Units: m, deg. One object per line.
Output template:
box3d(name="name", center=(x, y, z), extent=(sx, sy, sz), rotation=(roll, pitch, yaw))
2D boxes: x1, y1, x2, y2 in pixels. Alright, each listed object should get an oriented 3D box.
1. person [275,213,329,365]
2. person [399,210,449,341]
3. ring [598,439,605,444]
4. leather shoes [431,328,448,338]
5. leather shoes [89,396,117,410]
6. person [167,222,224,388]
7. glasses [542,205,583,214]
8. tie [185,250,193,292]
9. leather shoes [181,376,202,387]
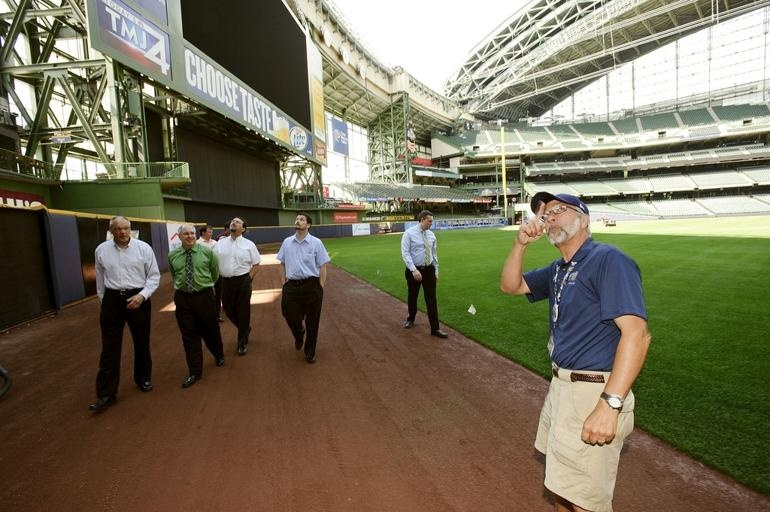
box3d(name="person", center=(-1.571, 0.592, 8.286), extent=(0.920, 2.829, 0.746), rotation=(-4, 6, -14))
box3d(name="person", center=(0.851, 0.326, 9.517), extent=(0.893, 2.708, 1.419), rotation=(-2, 6, 3))
box3d(name="ring", center=(2.394, 2.045, 4.695), extent=(0.038, 0.020, 0.053), rotation=(3, 1, 3))
box3d(name="leather shoes", center=(1.172, 1.645, 9.106), extent=(0.371, 0.165, 0.142), rotation=(1, 3, 18))
box3d(name="leather shoes", center=(-4.678, 2.454, 7.082), extent=(0.176, 0.177, 0.402), rotation=(-1, -11, 19))
box3d(name="person", center=(-3.444, 0.833, 7.748), extent=(0.815, 2.860, 0.587), rotation=(-7, 8, -39))
box3d(name="glasses", center=(2.125, -0.554, 5.095), extent=(0.289, 0.083, 0.174), rotation=(9, 0, 8))
box3d(name="tie", center=(-3.483, 0.253, 7.538), extent=(0.123, 0.720, 0.212), rotation=(-4, 6, -17))
box3d(name="leather shoes", center=(-3.470, 2.224, 7.598), extent=(0.116, 0.142, 0.331), rotation=(0, -3, 21))
